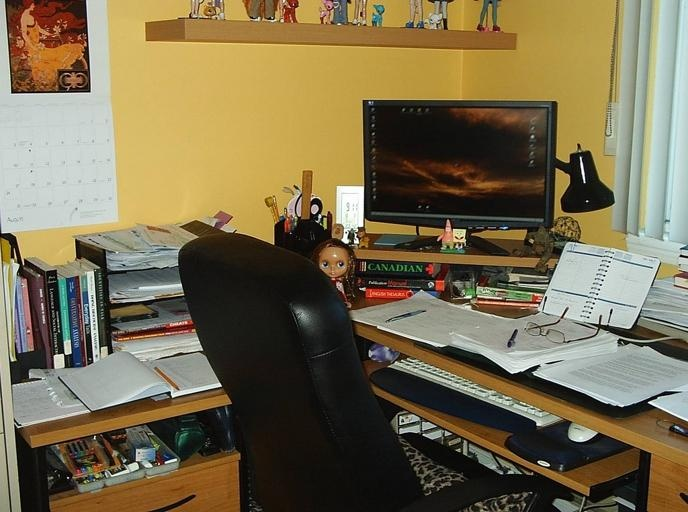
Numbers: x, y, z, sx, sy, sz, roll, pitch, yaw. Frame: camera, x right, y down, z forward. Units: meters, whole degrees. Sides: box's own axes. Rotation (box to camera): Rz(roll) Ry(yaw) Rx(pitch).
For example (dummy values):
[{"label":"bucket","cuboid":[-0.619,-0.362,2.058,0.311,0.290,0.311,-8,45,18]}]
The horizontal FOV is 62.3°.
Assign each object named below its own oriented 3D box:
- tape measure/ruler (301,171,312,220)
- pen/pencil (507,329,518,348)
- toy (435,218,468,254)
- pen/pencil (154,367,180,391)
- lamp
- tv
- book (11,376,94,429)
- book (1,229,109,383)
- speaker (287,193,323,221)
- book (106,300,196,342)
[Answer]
[{"label":"tape measure/ruler","cuboid":[-0.129,-0.216,1.989,0.036,0.162,0.074,-1,16,-4]},{"label":"pen/pencil","cuboid":[0.453,0.216,1.517,0.020,0.009,0.078,11,27,26]},{"label":"toy","cuboid":[0.378,-0.067,1.949,0.126,0.103,0.105,4,11,14]},{"label":"pen/pencil","cuboid":[-0.477,0.333,1.540,0.064,0.007,0.007,39,3,20]},{"label":"lamp","cuboid":[0.764,-0.224,1.923,0.181,0.253,0.348,-19,15,-37]},{"label":"tv","cuboid":[0.395,-0.276,1.924,0.628,0.391,0.155,3,11,16]},{"label":"book","cuboid":[-0.775,0.372,1.459,0.133,0.020,0.116,-7,20,-32]},{"label":"book","cuboid":[-0.858,0.100,1.877,0.406,0.456,0.521,-7,15,-32]},{"label":"speaker","cuboid":[-0.132,-0.184,2.060,0.111,0.096,0.110,-32,24,-27]},{"label":"book","cuboid":[-0.584,0.197,1.751,0.190,0.040,0.188,-6,12,-26]}]
